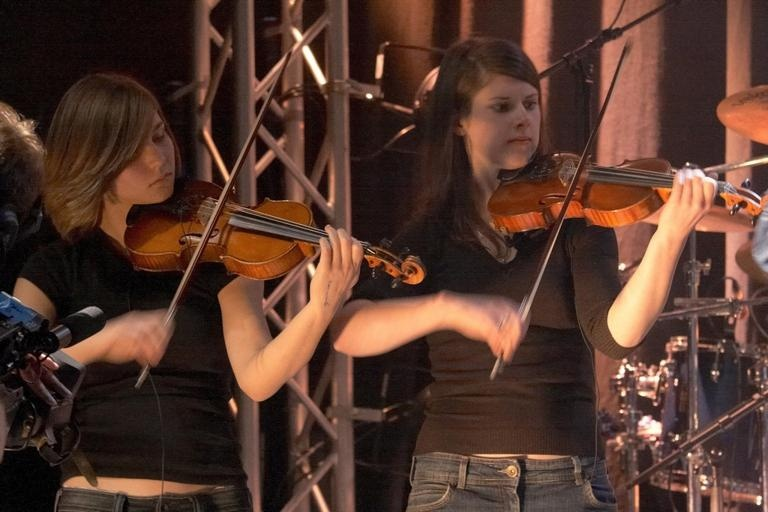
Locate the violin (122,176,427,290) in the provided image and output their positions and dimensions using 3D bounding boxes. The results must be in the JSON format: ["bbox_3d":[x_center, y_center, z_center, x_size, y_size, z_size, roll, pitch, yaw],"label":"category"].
[{"bbox_3d":[-0.382,-0.060,3.461,1.030,0.364,0.130,9,-49,8],"label":"violin"}]

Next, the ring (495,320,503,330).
[{"bbox_3d":[0.372,0.221,3.249,0.007,0.028,0.033,16,-11,-28],"label":"ring"}]

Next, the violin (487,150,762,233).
[{"bbox_3d":[0.816,-0.211,3.502,0.949,0.325,0.173,3,-20,10],"label":"violin"}]
